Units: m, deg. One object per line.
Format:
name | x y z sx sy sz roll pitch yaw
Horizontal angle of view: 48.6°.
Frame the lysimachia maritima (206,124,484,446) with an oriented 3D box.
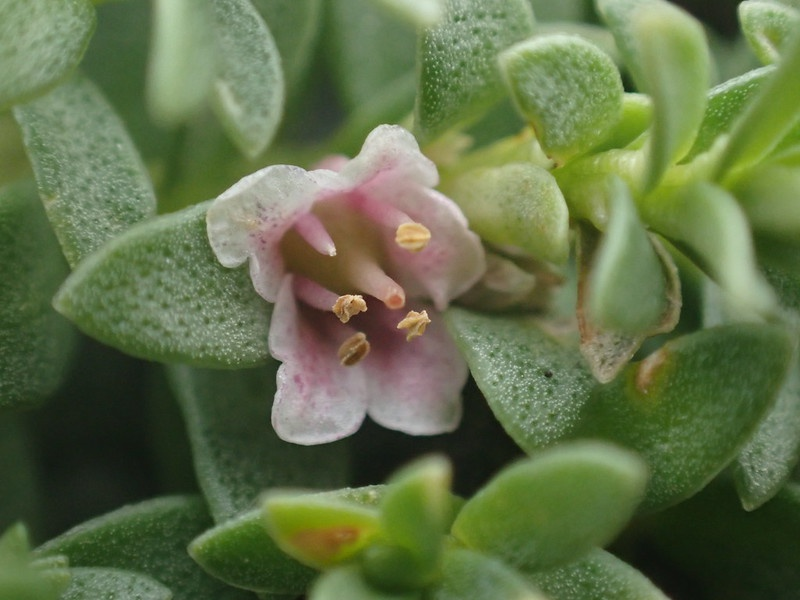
lysimachia maritima | -0.020 0.000 0.640 0.186 0.140 0.195 -20 75 -8
